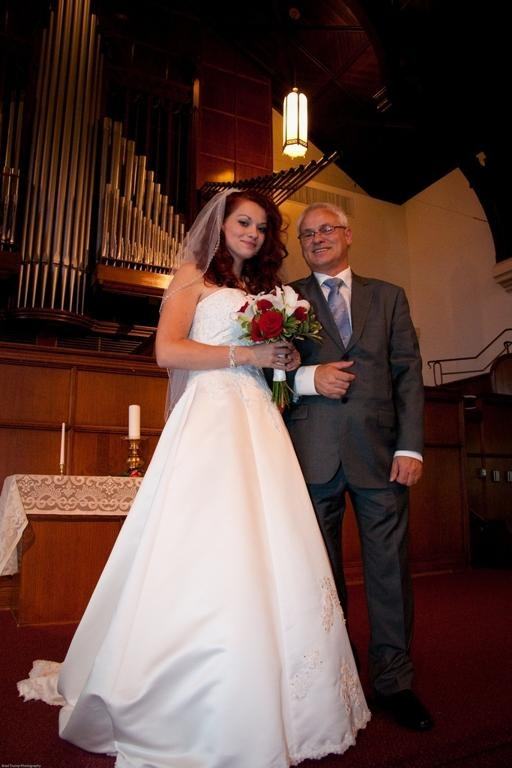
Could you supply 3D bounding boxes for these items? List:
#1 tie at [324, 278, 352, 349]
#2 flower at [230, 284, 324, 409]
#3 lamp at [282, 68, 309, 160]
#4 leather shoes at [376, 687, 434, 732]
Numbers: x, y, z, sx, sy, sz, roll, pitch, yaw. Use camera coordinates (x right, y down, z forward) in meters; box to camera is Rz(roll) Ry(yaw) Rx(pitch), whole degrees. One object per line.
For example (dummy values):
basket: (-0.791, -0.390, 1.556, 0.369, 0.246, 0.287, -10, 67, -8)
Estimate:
tie: (0.277, -0.243, 1.790, 0.053, 0.276, 0.041, -8, -28, 3)
flower: (0.078, -0.110, 1.621, 0.255, 0.323, 0.288, 7, 14, 17)
lamp: (0.393, -2.563, 5.288, 0.234, 0.682, 0.405, 0, -12, 1)
leather shoes: (0.383, 0.847, 1.427, 0.097, 0.055, 0.224, 2, -12, -7)
